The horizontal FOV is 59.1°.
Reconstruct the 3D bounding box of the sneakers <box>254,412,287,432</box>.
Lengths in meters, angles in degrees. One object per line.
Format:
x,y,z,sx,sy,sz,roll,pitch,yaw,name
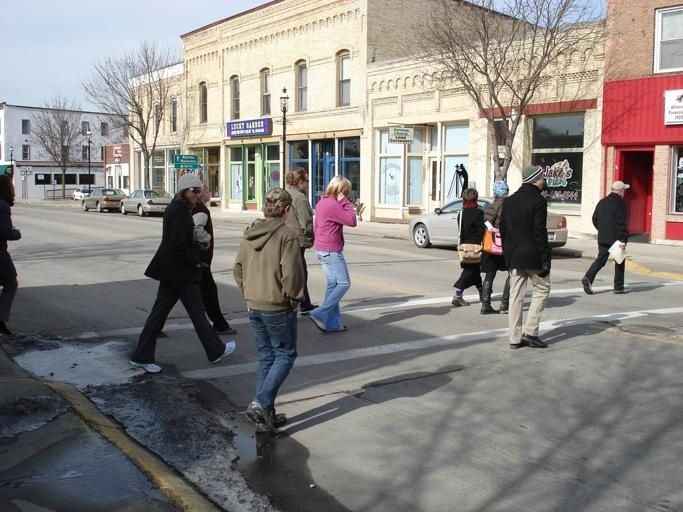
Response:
-0.624,1.490,5.522,0.113,0.149,0.339,13,19,40,sneakers

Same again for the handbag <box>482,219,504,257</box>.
2.370,-0.238,9.439,0.461,0.464,0.314,0,3,4,handbag

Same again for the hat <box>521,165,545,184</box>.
2.506,-1.067,7.893,0.288,0.191,0.210,-32,17,-24,hat

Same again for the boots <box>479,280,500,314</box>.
2.447,0.648,9.898,0.282,0.548,0.475,2,8,13,boots

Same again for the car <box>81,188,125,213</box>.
-16.308,-3.720,40.888,1.793,1.314,4.104,-3,9,-33,car

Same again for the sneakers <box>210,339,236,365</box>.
-1.411,1.143,7.259,0.130,0.150,0.363,8,18,20,sneakers

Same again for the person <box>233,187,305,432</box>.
-0.665,0.468,5.528,0.601,2.158,0.584,-2,8,-12,person

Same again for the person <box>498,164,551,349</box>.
2.408,0.003,7.856,0.622,2.316,0.576,1,8,9,person

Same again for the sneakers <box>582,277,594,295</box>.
4.642,0.558,11.303,0.116,0.315,0.145,-21,18,35,sneakers

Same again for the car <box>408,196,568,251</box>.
4.147,-0.884,17.701,1.945,1.358,4.140,-5,11,-37,car

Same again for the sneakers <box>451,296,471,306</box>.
2.053,0.756,10.392,0.308,0.202,0.120,-7,15,-16,sneakers

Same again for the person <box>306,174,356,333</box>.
-0.123,-0.039,8.712,0.641,2.202,0.765,0,8,0,person

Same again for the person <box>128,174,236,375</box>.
-1.902,0.172,7.011,1.130,2.218,0.530,-3,8,-20,person

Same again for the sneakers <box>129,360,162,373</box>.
-2.239,1.251,6.935,0.415,0.104,0.177,5,9,31,sneakers

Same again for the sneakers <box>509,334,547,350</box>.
2.438,1.108,7.827,0.505,0.207,0.188,1,1,-6,sneakers

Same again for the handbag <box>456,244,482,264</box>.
2.141,-0.056,10.146,0.491,0.395,0.279,1,8,1,handbag

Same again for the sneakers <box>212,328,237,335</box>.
-1.627,1.046,8.497,0.277,0.107,0.099,-3,5,-8,sneakers

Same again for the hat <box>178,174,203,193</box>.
-1.788,-0.858,7.138,0.234,0.143,0.228,-1,2,-30,hat
